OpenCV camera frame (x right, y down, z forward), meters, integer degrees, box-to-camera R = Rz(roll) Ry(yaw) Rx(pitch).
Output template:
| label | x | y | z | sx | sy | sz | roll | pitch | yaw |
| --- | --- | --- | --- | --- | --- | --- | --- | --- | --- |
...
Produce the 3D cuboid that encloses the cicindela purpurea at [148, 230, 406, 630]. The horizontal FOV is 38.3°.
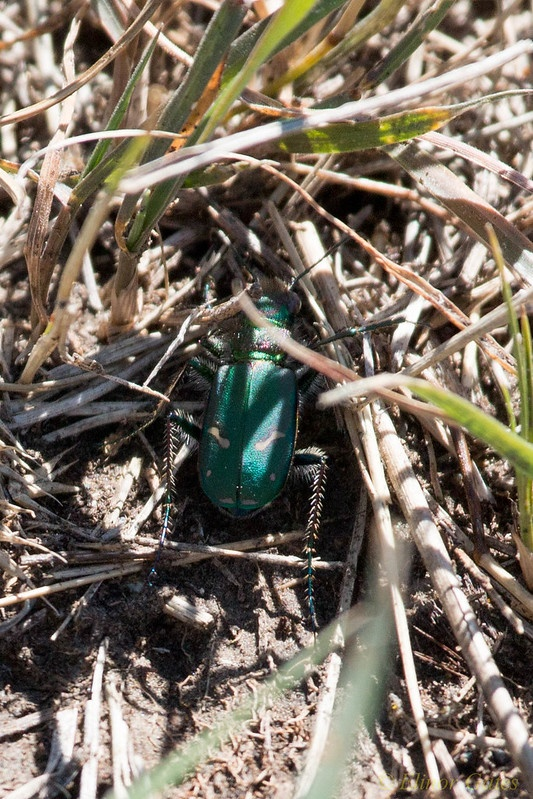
| label | x | y | z | sx | sy | sz | roll | pitch | yaw |
| --- | --- | --- | --- | --- | --- | --- | --- | --- | --- |
| cicindela purpurea | 0.023 | 0.007 | 3.430 | 0.977 | 0.414 | 1.553 | 4 | 66 | 3 |
